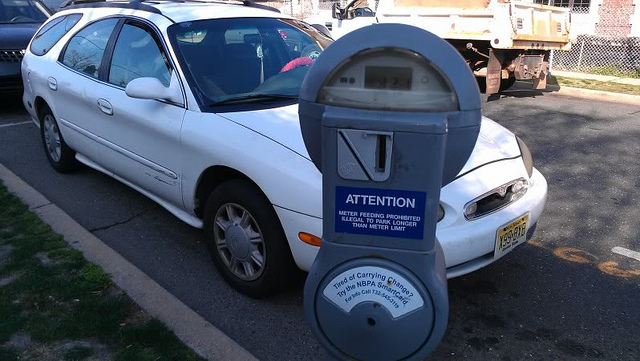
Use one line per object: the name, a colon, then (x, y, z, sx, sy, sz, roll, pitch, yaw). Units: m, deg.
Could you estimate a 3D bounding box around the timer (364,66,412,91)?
timer: (0.433, -0.646, 2.553, 0.292, 0.128, 0.055, 5, 25, 9)
